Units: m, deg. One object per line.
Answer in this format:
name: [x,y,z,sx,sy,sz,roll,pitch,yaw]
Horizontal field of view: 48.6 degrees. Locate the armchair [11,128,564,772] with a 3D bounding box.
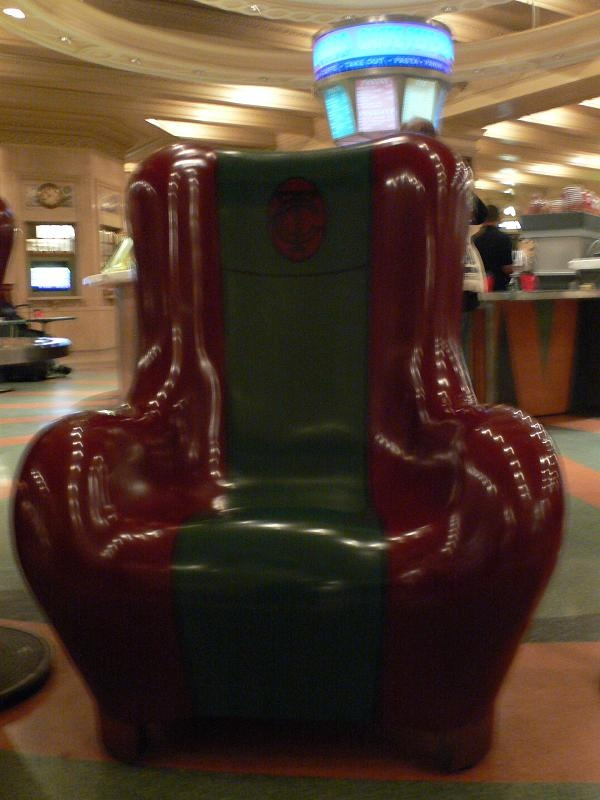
armchair: [-0.015,0.016,1.027,0.778,0.973,0.616,0,4,15]
